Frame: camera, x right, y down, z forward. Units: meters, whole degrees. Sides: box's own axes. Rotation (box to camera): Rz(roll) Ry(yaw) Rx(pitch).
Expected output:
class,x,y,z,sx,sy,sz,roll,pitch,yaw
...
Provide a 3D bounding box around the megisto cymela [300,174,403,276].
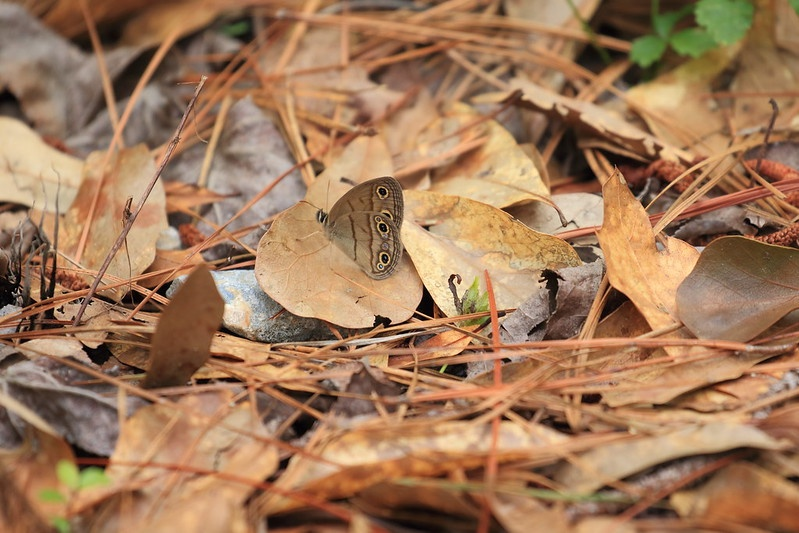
class,x,y,z,sx,sy,sz,roll,pitch,yaw
megisto cymela,-0.119,-0.141,2.781,0.374,0.381,0.242,13,57,5
